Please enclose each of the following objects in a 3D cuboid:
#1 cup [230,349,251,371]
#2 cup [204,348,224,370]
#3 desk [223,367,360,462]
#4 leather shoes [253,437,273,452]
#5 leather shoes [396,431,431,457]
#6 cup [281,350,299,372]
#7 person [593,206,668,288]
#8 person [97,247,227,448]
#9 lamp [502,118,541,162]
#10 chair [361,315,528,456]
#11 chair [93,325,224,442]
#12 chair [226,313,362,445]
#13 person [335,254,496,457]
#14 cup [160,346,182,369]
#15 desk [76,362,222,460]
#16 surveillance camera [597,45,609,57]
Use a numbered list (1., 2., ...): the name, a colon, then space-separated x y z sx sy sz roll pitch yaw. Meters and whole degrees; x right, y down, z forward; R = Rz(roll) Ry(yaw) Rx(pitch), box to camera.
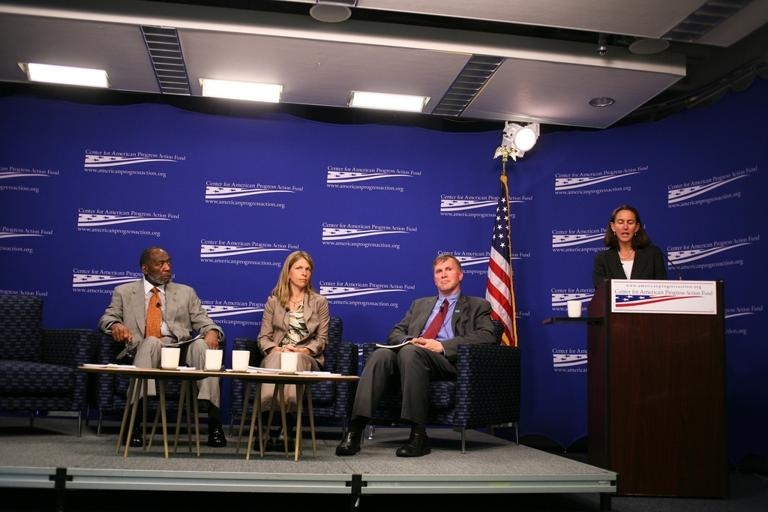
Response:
1. cup: -1.091 0.796 5.523 0.150 0.150 0.145 1 -10 0
2. cup: -1.282 0.797 5.530 0.138 0.144 0.144 0 -9 0
3. desk: -0.844 1.252 5.653 0.887 0.688 1.073 4 -12 -12
4. leather shoes: -0.965 1.555 5.898 0.086 0.101 0.271 4 -18 -23
5. leather shoes: 0.235 1.575 5.964 0.349 0.226 0.140 15 -19 -41
6. cup: -0.721 0.823 5.529 0.150 0.152 0.150 -1 -9 0
7. person: 2.143 -0.091 6.382 0.598 0.698 0.221 -2 -13 14
8. person: -2.007 0.865 6.406 1.148 2.003 1.246 10 -47 -29
9. lamp: 1.513 -1.306 8.043 0.412 0.413 0.371 -1 -12 10
10. chair: 0.579 1.242 6.539 1.057 1.027 1.096 -10 -22 29
11. chair: -1.774 0.984 5.915 0.725 1.031 0.690 -2 -14 -11
12. chair: -0.814 1.140 7.008 1.217 1.238 0.992 1 -12 6
13. person: 0.262 0.974 6.618 1.044 1.959 1.569 -16 -38 37
14. cup: -1.589 0.767 5.399 0.130 0.163 0.120 2 -12 0
15. desk: -1.831 1.240 5.714 0.923 0.685 1.351 6 -13 -19
16. surveillance camera: 2.097 -1.985 6.938 0.092 0.097 0.088 2 0 -7
